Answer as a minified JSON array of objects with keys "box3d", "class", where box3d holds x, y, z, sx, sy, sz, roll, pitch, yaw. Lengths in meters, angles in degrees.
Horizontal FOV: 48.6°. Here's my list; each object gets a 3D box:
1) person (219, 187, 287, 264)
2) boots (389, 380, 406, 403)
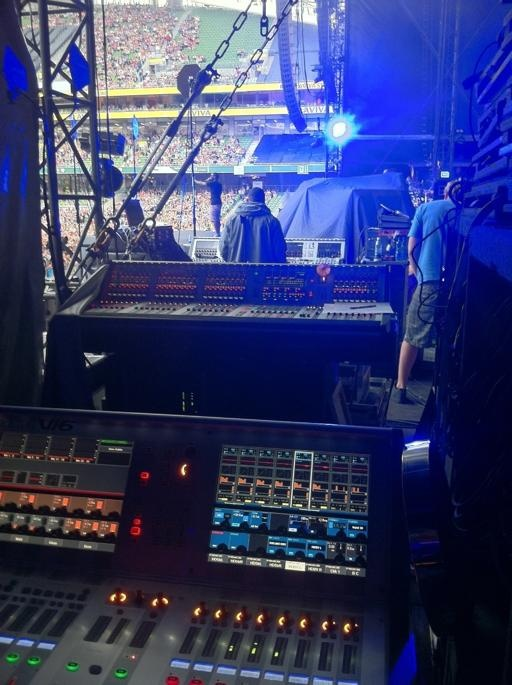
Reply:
[{"box3d":[-0.039,-0.865,4.942,0.510,0.316,1.053,2,-51,0],"class":"person"},{"box3d":[1.093,0.387,4.368,0.127,0.174,0.393,-2,-6,3],"class":"boots"}]
